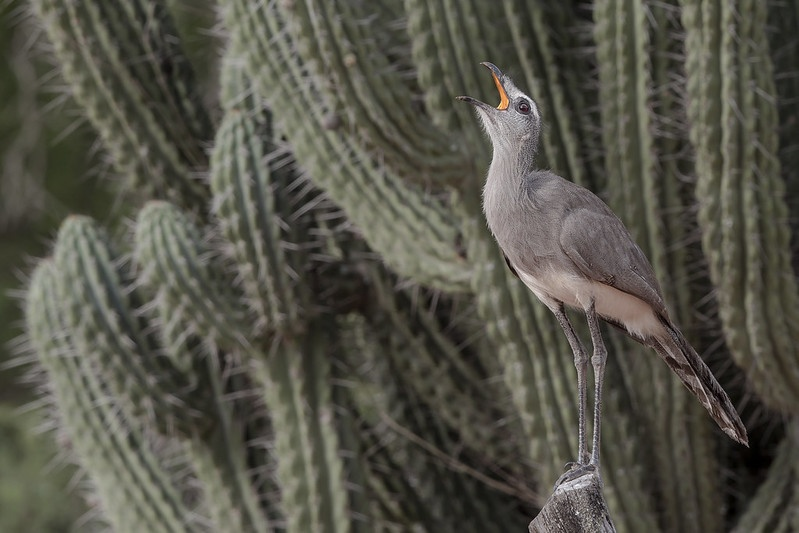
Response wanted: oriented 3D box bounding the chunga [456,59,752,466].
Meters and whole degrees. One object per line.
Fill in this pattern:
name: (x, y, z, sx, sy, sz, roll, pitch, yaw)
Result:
chunga: (0.660, -0.028, 4.018, 0.767, 1.386, 0.224, -7, 0, -15)
